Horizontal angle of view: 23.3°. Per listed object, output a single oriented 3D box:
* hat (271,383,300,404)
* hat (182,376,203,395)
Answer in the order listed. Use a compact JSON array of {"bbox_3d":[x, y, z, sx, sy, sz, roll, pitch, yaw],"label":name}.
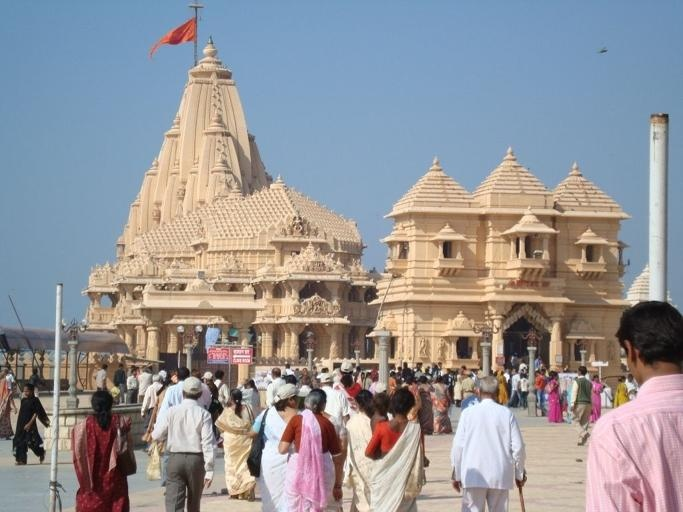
[{"bbox_3d":[-0.820,1.996,24.301,0.237,0.137,0.333,5,24,42],"label":"hat"},{"bbox_3d":[-2.299,1.963,24.875,0.290,0.170,0.423,1,28,-2],"label":"hat"}]
